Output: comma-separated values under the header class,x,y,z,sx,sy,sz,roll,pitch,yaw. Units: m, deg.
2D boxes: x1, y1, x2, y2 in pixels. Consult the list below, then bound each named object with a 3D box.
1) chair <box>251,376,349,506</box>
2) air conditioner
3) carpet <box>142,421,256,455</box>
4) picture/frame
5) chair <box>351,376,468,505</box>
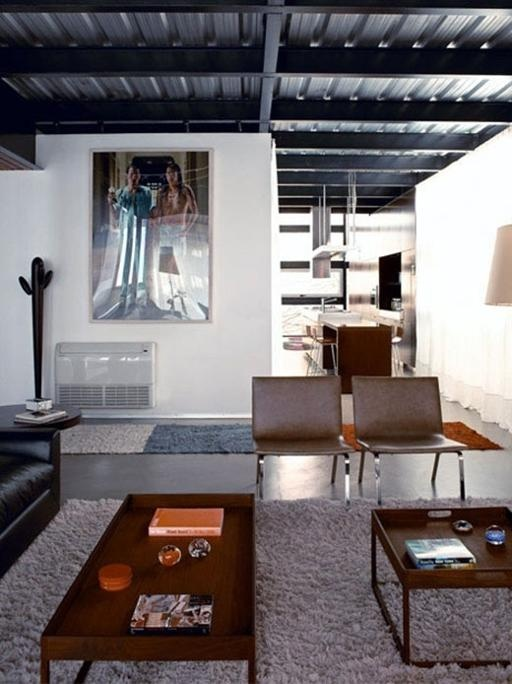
class,x,y,z,sx,sy,sz,roll,pitch,yaw
chair,0.269,0.592,3.428,0.600,0.701,0.790,2,5,-1
air conditioner,-1.541,0.332,5.551,1.014,0.697,0.597,0,1,-7
carpet,-0.490,0.829,4.602,0.893,0.055,0.897,2,5,-3
picture/frame,-1.017,-1.137,5.219,1.580,2.208,0.078,1,-1,3
chair,0.935,0.582,3.360,0.606,0.655,0.719,2,5,-2
